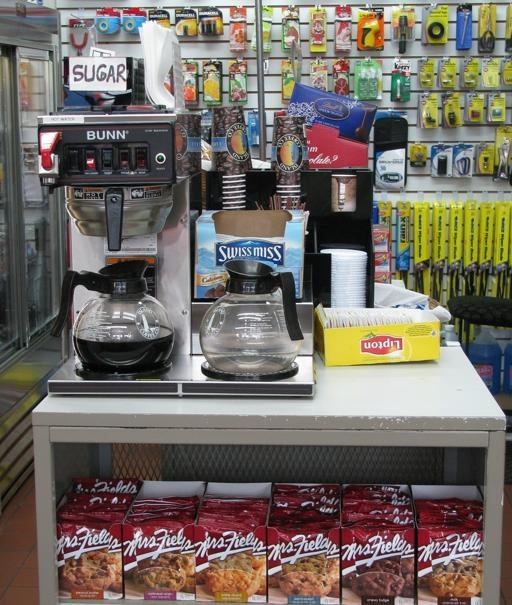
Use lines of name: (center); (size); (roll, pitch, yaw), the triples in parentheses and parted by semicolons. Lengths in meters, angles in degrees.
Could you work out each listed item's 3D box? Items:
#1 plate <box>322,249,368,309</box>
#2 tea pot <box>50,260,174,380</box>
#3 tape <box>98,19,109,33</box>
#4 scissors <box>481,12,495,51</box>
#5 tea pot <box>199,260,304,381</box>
plate: (0.241, -0.072, 1.489); (0.159, 0.172, 0.153); (-1, 10, -6)
tea pot: (-0.266, 0.034, 1.105); (0.263, 0.218, 0.195); (0, 5, -4)
tape: (-1.116, -2.064, 4.109); (0.109, 0.097, 0.095); (1, 27, -1)
scissors: (1.655, -1.929, 3.958); (0.103, 0.238, 0.033); (-1, 12, 1)
tea pot: (0.017, 0.028, 1.121); (0.245, 0.224, 0.190); (8, 10, 44)
